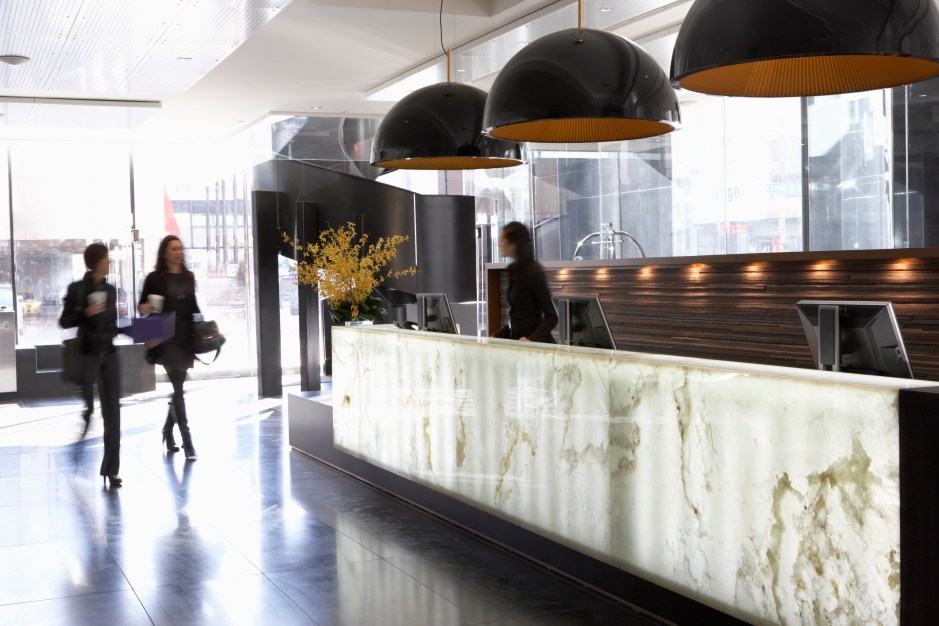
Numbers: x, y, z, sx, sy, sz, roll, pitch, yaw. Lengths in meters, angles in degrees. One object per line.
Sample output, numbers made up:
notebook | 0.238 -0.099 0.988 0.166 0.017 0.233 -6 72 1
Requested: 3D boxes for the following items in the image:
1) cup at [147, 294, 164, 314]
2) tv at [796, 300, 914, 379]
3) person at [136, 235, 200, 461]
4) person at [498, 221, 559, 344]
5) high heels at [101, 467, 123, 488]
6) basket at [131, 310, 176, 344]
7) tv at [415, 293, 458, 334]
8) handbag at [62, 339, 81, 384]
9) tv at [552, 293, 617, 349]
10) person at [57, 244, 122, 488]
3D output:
cup | -2.951 -0.078 7.291 0.153 0.159 0.134 -4 9 -30
tv | 2.077 0.132 4.279 0.332 0.408 0.615 -4 6 -37
person | -2.897 0.337 7.496 0.460 2.147 0.504 1 4 29
person | 0.500 -0.255 6.482 0.452 1.006 0.487 0 4 3
high heels | -3.115 1.435 6.733 0.103 0.135 0.301 2 -5 -36
basket | -2.979 0.146 7.279 0.396 0.286 0.126 -2 4 -19
tv | -0.269 -0.014 6.553 0.275 0.363 0.407 -5 9 -8
handbag | -3.509 0.425 6.835 0.073 0.328 0.335 2 25 -26
tv | 0.851 0.039 5.413 0.096 0.379 0.403 -15 11 -39
person | -3.259 0.441 6.821 0.648 2.079 0.379 2 4 35
